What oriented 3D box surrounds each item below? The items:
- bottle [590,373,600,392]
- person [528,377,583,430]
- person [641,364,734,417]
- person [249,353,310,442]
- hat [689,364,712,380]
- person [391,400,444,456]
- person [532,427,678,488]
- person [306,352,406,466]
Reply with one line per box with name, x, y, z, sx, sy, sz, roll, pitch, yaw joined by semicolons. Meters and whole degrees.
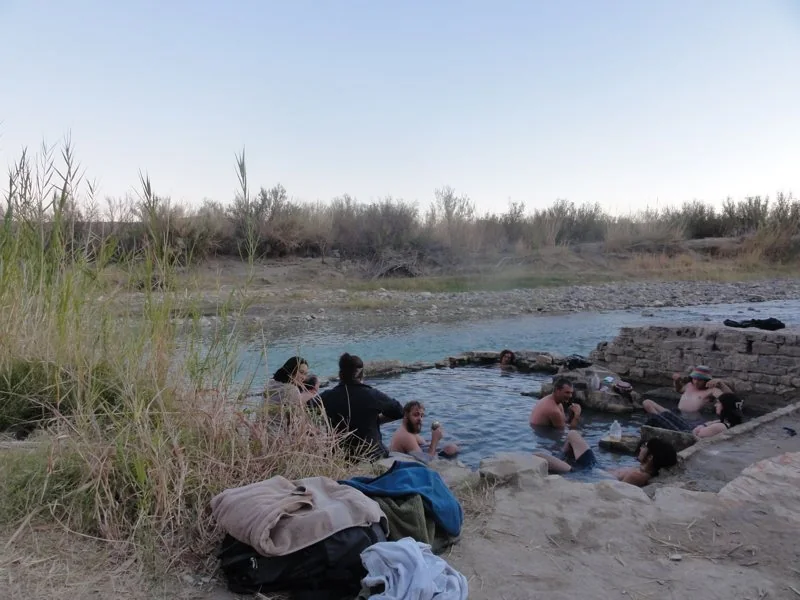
bottle;3.752;1.570;10.595;0.175;0.251;0.501;6;6;20
person;2.693;1.661;9.200;0.709;0.846;1.129;10;9;44
person;5.466;1.784;10.271;1.505;0.856;0.934;11;12;-37
person;-1.350;1.182;6.234;0.461;1.452;0.453;0;44;-28
hat;5.391;1.312;9.879;0.276;0.145;0.278;17;-8;24
person;0.206;1.873;7.649;0.777;1.050;0.805;-2;5;2
person;2.856;2.030;7.286;2.062;0.823;0.764;-3;-23;27
person;-0.456;1.313;6.448;0.935;1.344;0.844;2;7;-12
